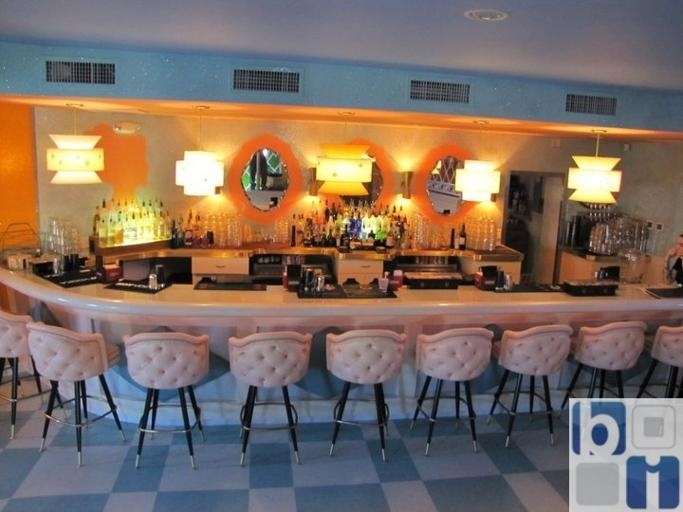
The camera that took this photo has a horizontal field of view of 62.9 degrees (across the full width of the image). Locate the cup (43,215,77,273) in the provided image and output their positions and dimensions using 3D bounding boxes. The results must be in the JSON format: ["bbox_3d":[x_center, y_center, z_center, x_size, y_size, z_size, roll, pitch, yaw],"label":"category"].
[{"bbox_3d":[-3.076,-0.142,6.124,0.340,0.544,0.538,-9,13,-29],"label":"cup"}]

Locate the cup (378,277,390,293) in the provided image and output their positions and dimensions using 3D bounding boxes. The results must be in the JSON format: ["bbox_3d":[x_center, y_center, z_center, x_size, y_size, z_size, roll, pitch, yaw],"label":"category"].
[{"bbox_3d":[0.417,0.281,5.569,0.128,0.148,0.131,2,12,0],"label":"cup"}]

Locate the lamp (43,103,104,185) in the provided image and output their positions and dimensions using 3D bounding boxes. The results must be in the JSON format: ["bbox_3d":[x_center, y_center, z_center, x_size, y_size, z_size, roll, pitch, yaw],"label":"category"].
[{"bbox_3d":[-2.945,-1.232,6.193,0.568,0.821,0.553,-7,14,-34],"label":"lamp"}]

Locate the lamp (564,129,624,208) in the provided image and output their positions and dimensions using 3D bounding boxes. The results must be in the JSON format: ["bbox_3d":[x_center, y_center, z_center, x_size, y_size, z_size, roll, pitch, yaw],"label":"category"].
[{"bbox_3d":[3.024,-1.073,6.670,0.570,0.908,0.571,10,11,35],"label":"lamp"}]

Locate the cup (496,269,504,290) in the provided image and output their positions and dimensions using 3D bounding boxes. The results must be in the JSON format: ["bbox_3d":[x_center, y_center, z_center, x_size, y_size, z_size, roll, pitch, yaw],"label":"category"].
[{"bbox_3d":[1.633,0.237,5.752,0.087,0.201,0.116,1,12,16],"label":"cup"}]

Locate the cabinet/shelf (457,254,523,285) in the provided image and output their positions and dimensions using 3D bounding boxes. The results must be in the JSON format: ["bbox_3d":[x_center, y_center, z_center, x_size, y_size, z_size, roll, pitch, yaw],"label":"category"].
[{"bbox_3d":[2.064,0.103,7.716,0.645,0.350,0.473,-1,11,-6],"label":"cabinet/shelf"}]

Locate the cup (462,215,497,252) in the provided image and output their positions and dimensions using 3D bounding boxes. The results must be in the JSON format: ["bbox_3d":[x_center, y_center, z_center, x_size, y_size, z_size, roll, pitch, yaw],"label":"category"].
[{"bbox_3d":[2.007,-0.330,8.068,0.458,0.490,0.453,0,8,0],"label":"cup"}]

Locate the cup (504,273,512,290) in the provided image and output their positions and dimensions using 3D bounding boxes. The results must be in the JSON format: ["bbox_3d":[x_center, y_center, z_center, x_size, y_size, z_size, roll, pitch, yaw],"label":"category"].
[{"bbox_3d":[1.707,0.260,5.757,0.068,0.166,0.075,1,12,16],"label":"cup"}]

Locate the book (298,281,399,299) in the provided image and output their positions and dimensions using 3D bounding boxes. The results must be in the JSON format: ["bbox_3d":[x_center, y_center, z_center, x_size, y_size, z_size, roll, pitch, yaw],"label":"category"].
[{"bbox_3d":[0.045,0.341,5.617,0.970,0.107,0.474,-3,11,-4],"label":"book"}]

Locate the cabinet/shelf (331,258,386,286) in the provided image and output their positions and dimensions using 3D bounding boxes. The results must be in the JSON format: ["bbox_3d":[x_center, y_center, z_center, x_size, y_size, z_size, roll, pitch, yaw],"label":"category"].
[{"bbox_3d":[0.231,0.186,7.455,0.519,0.506,0.351,0,4,-6],"label":"cabinet/shelf"}]

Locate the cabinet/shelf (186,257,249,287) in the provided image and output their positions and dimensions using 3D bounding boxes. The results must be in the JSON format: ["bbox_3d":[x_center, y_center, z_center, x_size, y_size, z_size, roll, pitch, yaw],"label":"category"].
[{"bbox_3d":[-1.602,0.120,7.374,0.757,0.306,0.235,-5,11,-10],"label":"cabinet/shelf"}]
